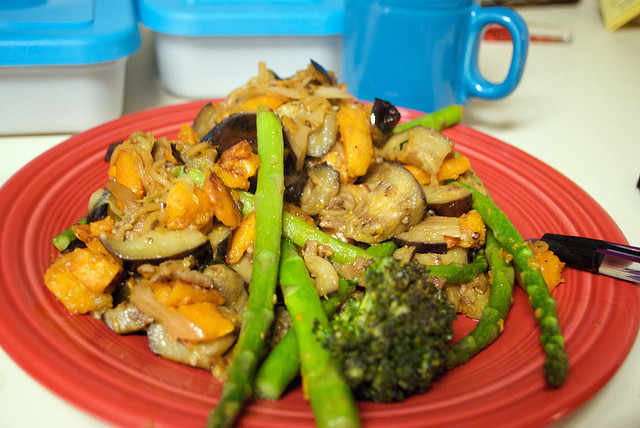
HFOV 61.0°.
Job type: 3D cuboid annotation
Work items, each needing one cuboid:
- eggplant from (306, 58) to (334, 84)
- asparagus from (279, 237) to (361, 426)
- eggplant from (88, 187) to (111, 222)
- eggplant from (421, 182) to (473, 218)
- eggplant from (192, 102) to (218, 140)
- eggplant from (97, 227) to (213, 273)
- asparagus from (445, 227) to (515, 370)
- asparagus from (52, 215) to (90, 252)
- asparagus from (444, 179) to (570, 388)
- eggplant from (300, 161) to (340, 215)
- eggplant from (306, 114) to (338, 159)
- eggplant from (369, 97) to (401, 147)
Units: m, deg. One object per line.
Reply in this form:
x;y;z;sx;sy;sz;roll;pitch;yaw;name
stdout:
0.004;-0.719;2.801;0.075;0.154;0.039;-29;21;-4;eggplant
-0.068;0.326;2.103;0.141;0.976;0.143;7;-42;-32;asparagus
-0.984;-0.038;2.445;0.098;0.165;0.044;-15;-24;20;eggplant
0.589;-0.079;2.497;0.136;0.147;0.221;3;17;14;eggplant
-0.576;-0.461;2.730;0.094;0.197;0.049;25;-12;-7;eggplant
-0.686;0.158;2.286;0.467;0.172;0.266;-4;0;-12;eggplant
0.746;0.301;2.364;0.193;0.233;1.041;10;38;21;asparagus
-1.115;0.079;2.430;0.150;0.135;0.124;-4;10;-28;asparagus
0.857;0.233;2.243;0.107;0.138;1.027;-42;16;35;asparagus
-0.007;-0.109;2.514;0.164;0.230;0.055;21;2;16;eggplant
0.015;-0.355;2.580;0.124;0.203;0.039;16;-5;10;eggplant
0.302;-0.428;2.560;0.169;0.207;0.047;2;12;-2;eggplant
